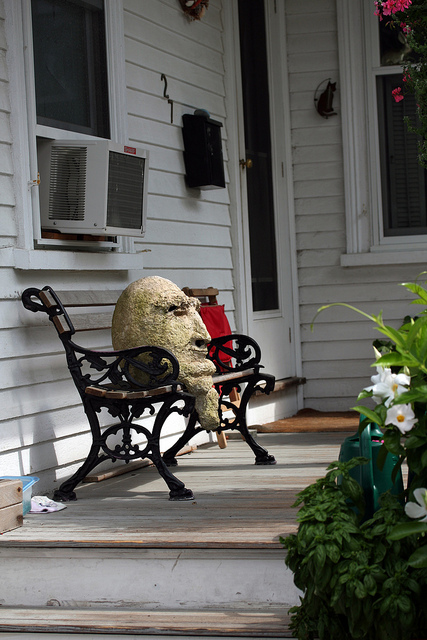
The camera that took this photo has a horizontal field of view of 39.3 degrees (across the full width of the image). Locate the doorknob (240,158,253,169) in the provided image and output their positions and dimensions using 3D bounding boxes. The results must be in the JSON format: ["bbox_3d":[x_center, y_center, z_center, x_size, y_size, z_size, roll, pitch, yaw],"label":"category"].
[{"bbox_3d":[0.233,-1.099,4.214,0.095,0.045,0.052,-1,2,18],"label":"doorknob"}]

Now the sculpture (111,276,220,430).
[{"bbox_3d":[-0.220,0.144,2.634,0.476,0.679,0.364,-9,-9,13],"label":"sculpture"}]

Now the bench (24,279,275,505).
[{"bbox_3d":[-0.289,0.287,2.829,0.723,0.765,1.194,0,1,13],"label":"bench"}]
